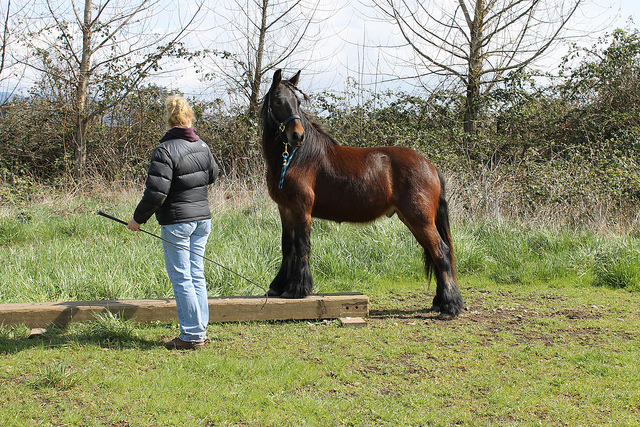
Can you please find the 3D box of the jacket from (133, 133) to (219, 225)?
[{"bbox_3d":[-2.289,-0.639,11.158,1.090,1.597,1.648,7,11,33],"label":"jacket"}]
